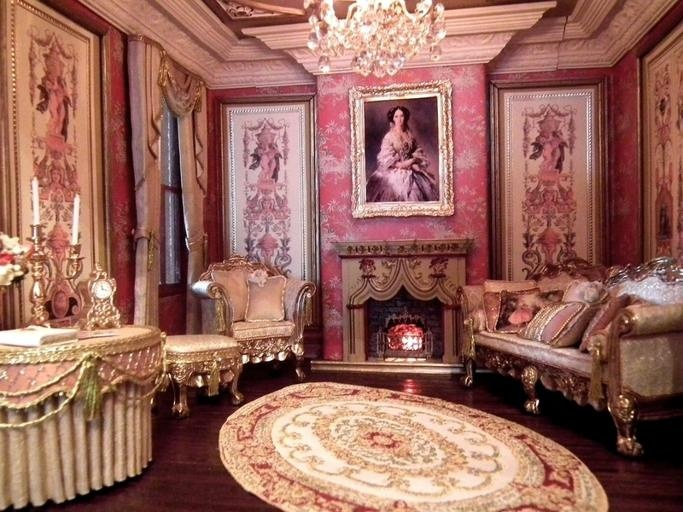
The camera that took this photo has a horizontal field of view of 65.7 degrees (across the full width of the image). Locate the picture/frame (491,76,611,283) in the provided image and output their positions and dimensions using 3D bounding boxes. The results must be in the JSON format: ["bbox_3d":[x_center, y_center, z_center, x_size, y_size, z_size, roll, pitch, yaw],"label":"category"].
[{"bbox_3d":[2.423,-0.884,6.254,1.310,2.299,0.206,0,5,5],"label":"picture/frame"}]

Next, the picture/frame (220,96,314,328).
[{"bbox_3d":[-0.957,-0.738,6.841,1.069,2.575,0.067,-6,32,-18],"label":"picture/frame"}]

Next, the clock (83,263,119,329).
[{"bbox_3d":[-1.768,0.320,3.910,0.235,0.477,0.150,1,-21,-35],"label":"clock"}]

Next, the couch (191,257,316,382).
[{"bbox_3d":[-0.968,0.663,5.728,1.209,1.393,0.800,1,-6,-34],"label":"couch"}]

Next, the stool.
[{"bbox_3d":[-1.231,1.032,4.783,0.672,0.616,0.538,-3,6,-26],"label":"stool"}]

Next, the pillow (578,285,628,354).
[{"bbox_3d":[2.028,0.530,4.132,0.481,0.450,0.245,-4,7,-35],"label":"pillow"}]
